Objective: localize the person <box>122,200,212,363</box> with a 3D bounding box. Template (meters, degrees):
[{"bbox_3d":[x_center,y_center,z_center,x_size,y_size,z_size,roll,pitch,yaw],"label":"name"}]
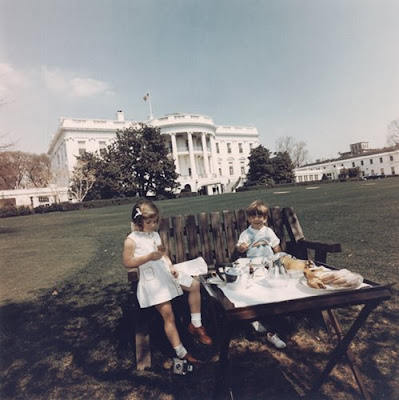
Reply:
[{"bbox_3d":[-0.304,0.756,2.365,0.734,1.536,0.622,-4,3,-11],"label":"person"}]

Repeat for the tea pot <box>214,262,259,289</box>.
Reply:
[{"bbox_3d":[0.297,0.562,1.856,0.229,0.157,0.157,-4,0,-11],"label":"tea pot"}]

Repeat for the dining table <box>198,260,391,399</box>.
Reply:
[{"bbox_3d":[0.592,0.835,1.836,1.057,0.932,1.015,-1,4,-11],"label":"dining table"}]

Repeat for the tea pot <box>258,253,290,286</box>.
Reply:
[{"bbox_3d":[0.532,0.521,1.788,0.182,0.224,0.144,0,-23,17],"label":"tea pot"}]

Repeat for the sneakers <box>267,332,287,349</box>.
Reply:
[{"bbox_3d":[0.781,1.406,2.518,0.084,0.083,0.176,-20,24,-29],"label":"sneakers"}]
